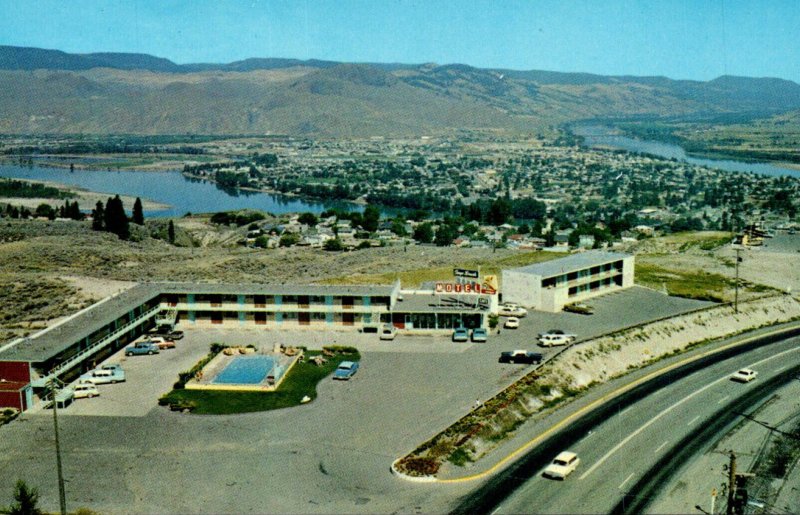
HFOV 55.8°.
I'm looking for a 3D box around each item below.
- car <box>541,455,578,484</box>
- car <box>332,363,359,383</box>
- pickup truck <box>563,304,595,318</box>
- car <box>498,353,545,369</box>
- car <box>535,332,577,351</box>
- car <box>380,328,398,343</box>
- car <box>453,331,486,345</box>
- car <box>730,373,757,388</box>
[{"bbox_3d":[10.533,13.734,49.605,1.364,0.827,2.278,5,12,36],"label":"car"},{"bbox_3d":[-4.434,9.213,61.030,1.273,0.552,2.074,-1,5,6],"label":"car"},{"bbox_3d":[17.549,5.268,74.619,2.836,0.631,3.064,1,7,0],"label":"pickup truck"},{"bbox_3d":[9.968,8.399,62.643,3.063,0.654,1.346,0,16,6],"label":"car"},{"bbox_3d":[13.776,7.266,66.183,2.919,0.674,1.485,-2,10,1],"label":"car"},{"bbox_3d":[-1.027,6.937,68.152,1.208,0.690,2.258,0,3,8],"label":"car"},{"bbox_3d":[6.219,7.026,67.340,2.936,1.113,1.411,2,8,8],"label":"car"},{"bbox_3d":[27.520,9.681,60.775,2.032,0.844,1.585,-5,10,-39],"label":"car"}]
